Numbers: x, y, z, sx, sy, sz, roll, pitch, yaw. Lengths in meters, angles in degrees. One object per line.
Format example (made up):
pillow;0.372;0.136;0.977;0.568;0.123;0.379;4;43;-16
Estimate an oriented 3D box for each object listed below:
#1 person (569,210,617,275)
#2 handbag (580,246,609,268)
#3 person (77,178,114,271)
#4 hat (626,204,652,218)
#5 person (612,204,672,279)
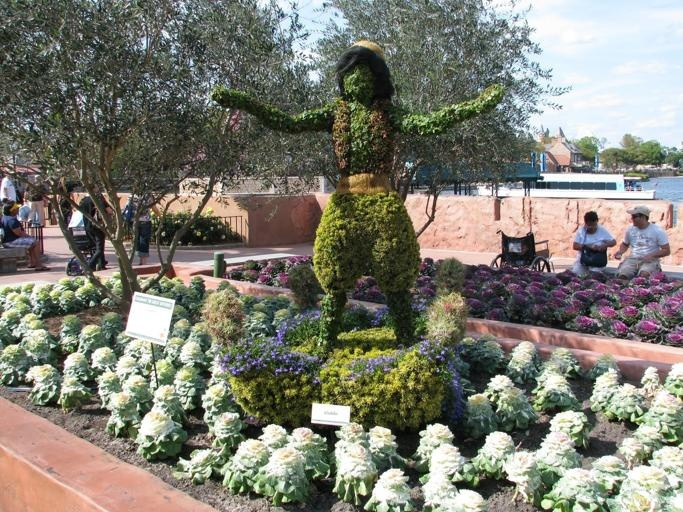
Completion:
person;4.420;-0.190;9.382;0.585;1.497;0.555;0;0;25
handbag;4.374;0.025;9.188;0.432;0.388;0.221;-1;3;15
person;-4.698;-0.521;10.105;0.723;2.139;0.642;14;12;41
hat;4.829;-0.733;8.648;0.393;0.232;0.269;2;6;27
person;4.835;-0.090;8.586;0.739;1.396;0.768;1;6;45
